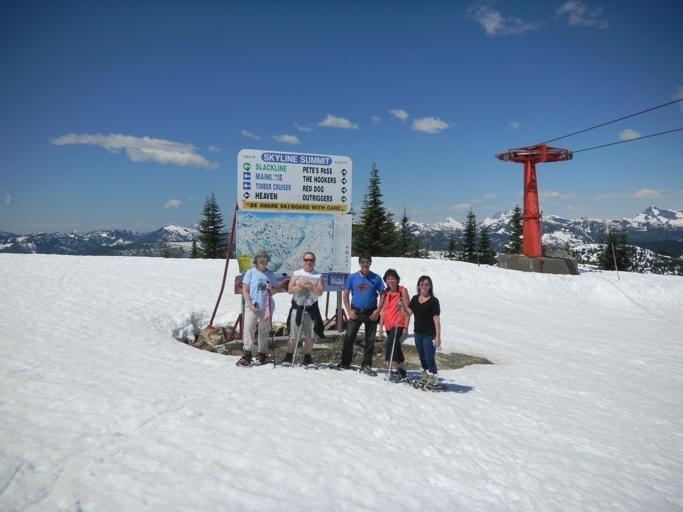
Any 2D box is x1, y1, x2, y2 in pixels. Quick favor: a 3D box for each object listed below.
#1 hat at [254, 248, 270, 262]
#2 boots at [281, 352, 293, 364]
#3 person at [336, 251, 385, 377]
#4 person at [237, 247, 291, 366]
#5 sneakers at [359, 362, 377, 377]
[{"bbox_3d":[-2.027,-0.011,12.850,0.335,0.324,0.563,4,10,-12],"label":"hat"},{"bbox_3d":[-1.421,2.650,12.925,0.204,0.433,0.286,10,-10,-31],"label":"boots"},{"bbox_3d":[0.527,1.488,12.792,1.031,3.138,0.711,6,10,4],"label":"person"},{"bbox_3d":[-2.135,1.404,12.877,0.859,3.128,1.021,4,10,-9],"label":"person"},{"bbox_3d":[0.693,2.963,12.950,0.202,0.241,0.557,10,-21,-21],"label":"sneakers"}]
